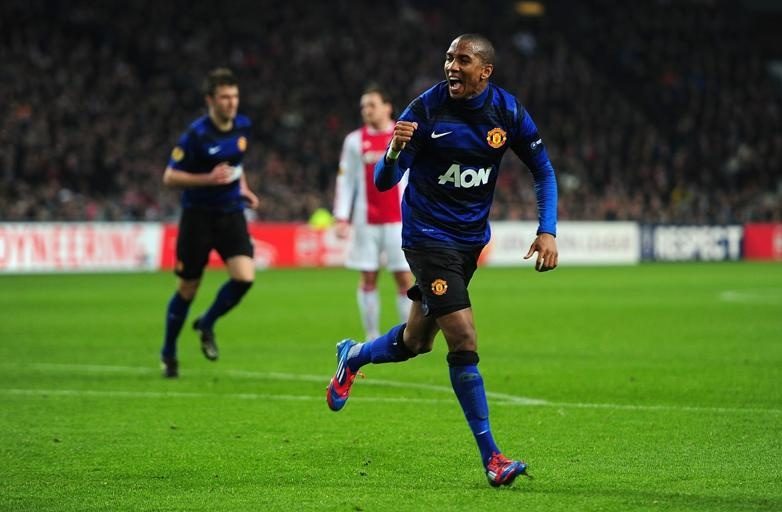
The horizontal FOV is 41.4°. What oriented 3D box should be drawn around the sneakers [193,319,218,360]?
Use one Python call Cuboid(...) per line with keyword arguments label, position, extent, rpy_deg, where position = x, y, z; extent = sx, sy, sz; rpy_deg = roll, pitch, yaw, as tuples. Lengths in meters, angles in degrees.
Cuboid(label="sneakers", position=(-2.171, 0.987, 12.088), extent=(0.215, 0.478, 0.162), rpy_deg=(-26, -2, 38))
